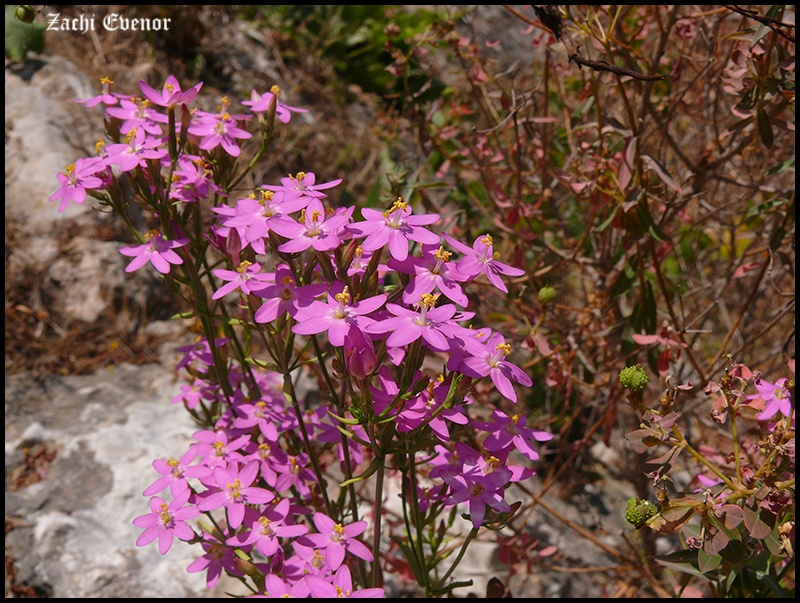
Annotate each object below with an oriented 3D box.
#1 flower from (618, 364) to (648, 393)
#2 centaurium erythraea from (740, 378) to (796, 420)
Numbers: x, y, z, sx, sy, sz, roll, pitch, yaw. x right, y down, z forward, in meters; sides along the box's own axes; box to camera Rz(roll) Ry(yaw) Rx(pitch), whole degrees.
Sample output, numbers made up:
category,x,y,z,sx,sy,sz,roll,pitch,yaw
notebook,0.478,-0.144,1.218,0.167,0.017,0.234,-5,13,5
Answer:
category,x,y,z,sx,sy,sz,roll,pitch,yaw
flower,0.905,0.298,3.170,0.099,0.061,0.109,-11,71,-4
centaurium erythraea,1.454,0.390,3.214,0.146,0.068,0.162,-14,49,15
